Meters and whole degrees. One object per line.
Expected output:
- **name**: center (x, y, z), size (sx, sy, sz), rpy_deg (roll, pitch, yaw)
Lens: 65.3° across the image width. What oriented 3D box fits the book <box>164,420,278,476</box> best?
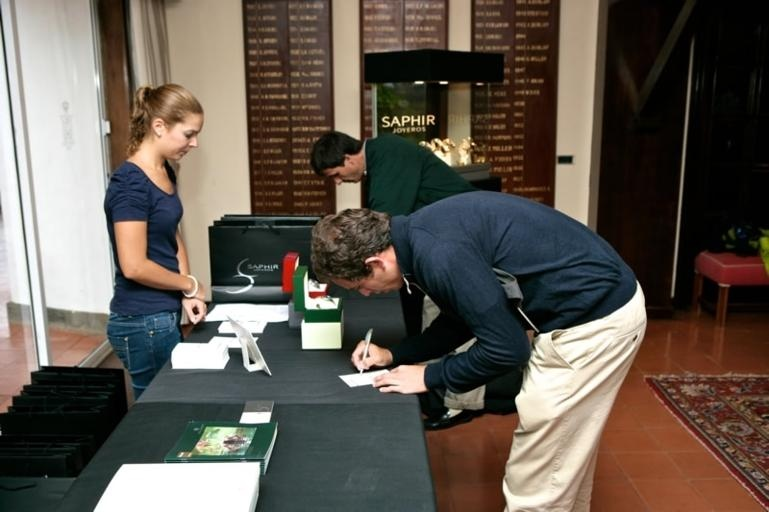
- **book**: center (-0.645, 0.759, 2.406), size (0.398, 0.133, 0.205), rpy_deg (-2, 12, 4)
